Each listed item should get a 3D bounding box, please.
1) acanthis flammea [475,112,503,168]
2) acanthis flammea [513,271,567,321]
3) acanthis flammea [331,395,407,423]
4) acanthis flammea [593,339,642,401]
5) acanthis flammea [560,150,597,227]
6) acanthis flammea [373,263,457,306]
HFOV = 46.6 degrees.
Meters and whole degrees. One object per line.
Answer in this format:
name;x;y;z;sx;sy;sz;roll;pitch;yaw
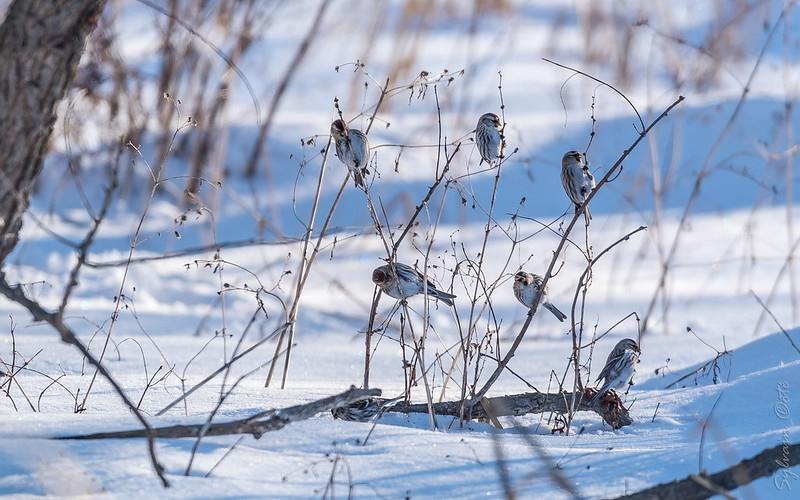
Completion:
acanthis flammea;0.723;-0.890;7.523;0.192;0.436;0.221;7;-28;-29
acanthis flammea;1.178;0.364;8.033;0.260;0.345;0.801;-6;-11;32
acanthis flammea;-0.264;1.213;7.149;0.529;0.145;0.260;-1;-44;-11
acanthis flammea;1.744;0.949;7.452;0.470;0.510;0.253;-4;-21;1
acanthis flammea;1.443;-0.565;7.591;0.262;0.703;0.225;0;-24;27
acanthis flammea;0.123;0.297;7.968;0.737;0.339;0.239;7;-53;6
